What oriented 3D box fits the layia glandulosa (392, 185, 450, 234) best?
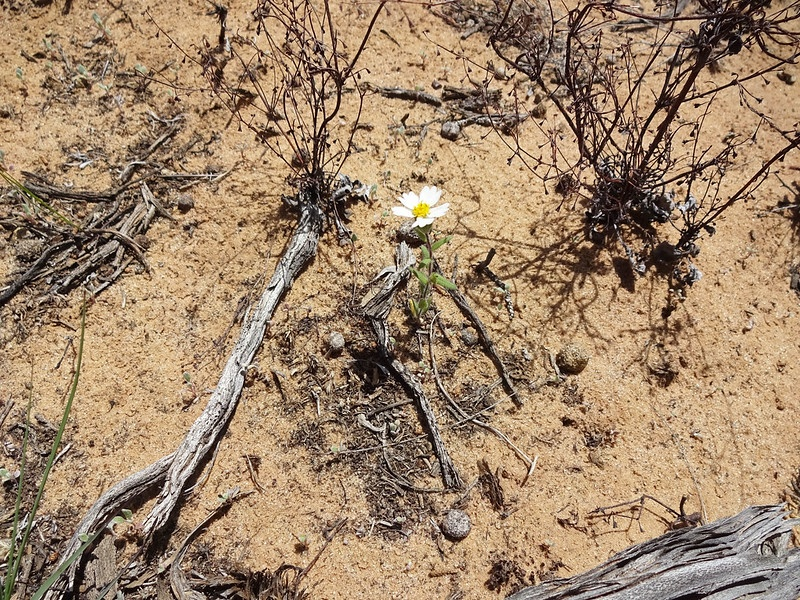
[{"bbox_3d":[0.120,-0.547,5.032,0.308,0.316,0.112,33,-16,33],"label":"layia glandulosa"}]
